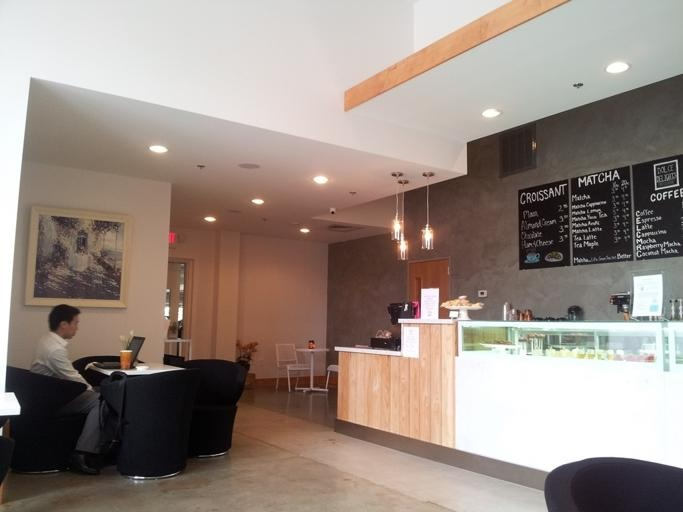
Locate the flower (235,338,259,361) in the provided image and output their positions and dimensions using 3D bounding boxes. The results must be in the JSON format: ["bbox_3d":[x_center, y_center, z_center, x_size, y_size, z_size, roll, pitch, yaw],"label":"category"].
[{"bbox_3d":[-1.944,1.951,10.292,0.407,0.417,0.386,4,-7,-26],"label":"flower"}]

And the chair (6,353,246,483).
[{"bbox_3d":[-2.045,1.581,4.771,1.412,0.664,1.233,-3,-8,9],"label":"chair"}]

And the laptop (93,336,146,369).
[{"bbox_3d":[-2.307,1.010,5.192,0.442,0.335,0.502,6,-11,-31],"label":"laptop"}]

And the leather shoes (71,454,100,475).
[{"bbox_3d":[-2.336,1.911,4.536,0.137,0.139,0.321,-4,-15,44],"label":"leather shoes"}]

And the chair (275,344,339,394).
[{"bbox_3d":[-0.775,2.372,10.623,1.201,1.129,0.850,-8,-11,44],"label":"chair"}]

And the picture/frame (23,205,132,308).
[{"bbox_3d":[-3.274,0.031,6.067,1.208,1.394,0.087,4,-3,-34],"label":"picture/frame"}]
